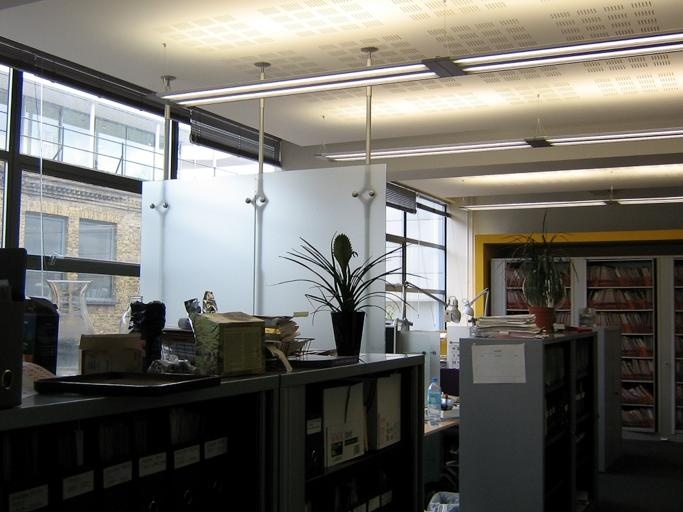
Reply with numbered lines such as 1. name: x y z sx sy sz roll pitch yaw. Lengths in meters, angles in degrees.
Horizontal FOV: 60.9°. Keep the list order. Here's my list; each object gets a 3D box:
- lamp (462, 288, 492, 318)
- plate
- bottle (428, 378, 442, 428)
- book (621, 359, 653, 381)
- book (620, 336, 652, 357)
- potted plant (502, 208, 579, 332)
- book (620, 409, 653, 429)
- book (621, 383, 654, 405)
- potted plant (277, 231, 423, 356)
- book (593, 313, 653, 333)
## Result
1. lamp: 2.013 0.677 8.607 0.339 0.431 1.883 -1 -5 14
2. plate: -0.567 0.339 1.553 0.414 0.043 0.241 -1 -5 4
3. bottle: 0.753 1.178 4.755 0.098 0.311 0.391 -1 -5 8
4. book: 4.265 1.627 8.363 0.430 0.296 0.118 -2 -5 22
5. book: 4.278 1.291 8.465 0.465 0.163 0.348 1 1 13
6. potted plant: 1.645 0.193 4.709 0.521 0.778 0.428 1 14 17
7. book: 4.213 2.301 8.250 0.407 0.265 0.148 -3 -6 25
8. book: 4.251 1.982 8.352 0.393 0.266 0.165 -2 -5 23
9. potted plant: 0.038 0.216 3.608 0.762 0.680 0.785 3 -8 -30
10. book: 4.161 0.966 8.526 0.776 0.290 0.148 -3 -6 33
